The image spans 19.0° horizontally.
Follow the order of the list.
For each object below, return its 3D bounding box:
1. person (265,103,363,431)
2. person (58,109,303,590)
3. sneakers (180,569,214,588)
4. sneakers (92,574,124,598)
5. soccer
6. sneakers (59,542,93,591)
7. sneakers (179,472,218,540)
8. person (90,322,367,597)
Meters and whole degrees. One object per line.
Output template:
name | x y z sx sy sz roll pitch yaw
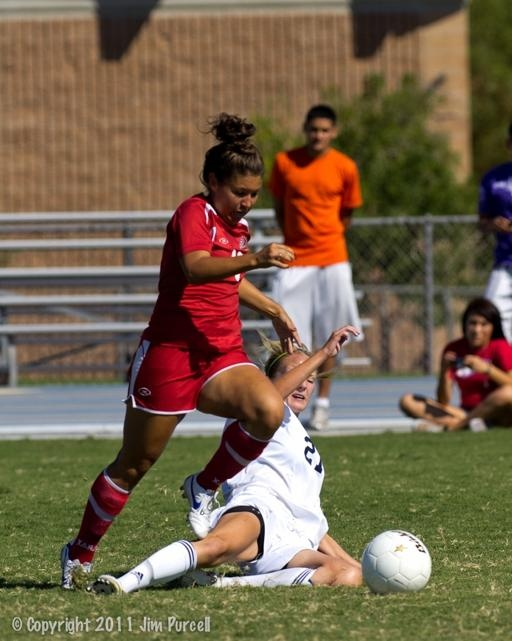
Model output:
person | 0.348 -0.347 9.897 0.621 2.279 0.628 4 25 6
person | -0.313 0.103 6.502 0.915 1.957 0.747 2 5 1
sneakers | -0.235 1.045 6.309 0.150 0.077 0.057 -3 2 4
sneakers | -0.597 1.040 6.096 0.049 0.071 0.110 -5 -4 -22
soccer | 0.585 0.948 6.147 0.242 0.230 0.241 -26 9 -23
sneakers | -0.763 1.010 6.382 0.074 0.092 0.211 14 21 -29
sneakers | -0.222 0.786 6.614 0.160 0.324 0.106 -16 -13 25
person | 0.075 0.669 6.600 1.193 1.228 0.620 10 -13 6
